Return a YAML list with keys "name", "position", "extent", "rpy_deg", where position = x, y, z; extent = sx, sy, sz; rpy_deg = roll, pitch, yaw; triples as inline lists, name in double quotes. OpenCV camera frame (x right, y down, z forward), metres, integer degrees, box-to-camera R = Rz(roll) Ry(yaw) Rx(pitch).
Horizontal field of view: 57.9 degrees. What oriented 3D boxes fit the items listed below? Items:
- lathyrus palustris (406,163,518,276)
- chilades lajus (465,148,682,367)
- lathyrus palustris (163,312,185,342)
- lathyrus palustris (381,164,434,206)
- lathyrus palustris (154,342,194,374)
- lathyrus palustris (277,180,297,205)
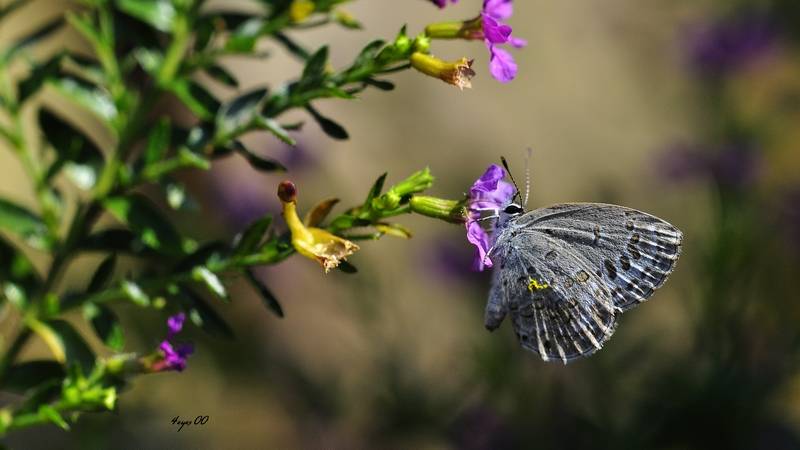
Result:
- name: "lathyrus palustris"
  position: [0.329, -0.027, 3.281]
  extent: [0.313, 0.456, 0.678]
  rpy_deg: [-2, -5, 26]
- name: "chilades lajus"
  position: [0.880, 0.240, 3.550]
  extent: [0.916, 0.852, 0.232]
  rpy_deg: [-1, -4, 7]
- name: "lathyrus palustris"
  position: [-0.943, 0.427, 3.022]
  extent: [0.069, 0.119, 0.240]
  rpy_deg: [1, -5, -17]
- name: "lathyrus palustris"
  position: [0.047, -0.163, 3.088]
  extent: [0.259, 0.109, 0.100]
  rpy_deg: [-32, 19, -19]
- name: "lathyrus palustris"
  position: [-0.951, 0.550, 3.016]
  extent: [0.148, 0.134, 0.176]
  rpy_deg: [1, -5, -18]
- name: "lathyrus palustris"
  position: [-0.476, -0.140, 3.066]
  extent: [0.070, 0.109, 0.127]
  rpy_deg: [0, -5, -1]
